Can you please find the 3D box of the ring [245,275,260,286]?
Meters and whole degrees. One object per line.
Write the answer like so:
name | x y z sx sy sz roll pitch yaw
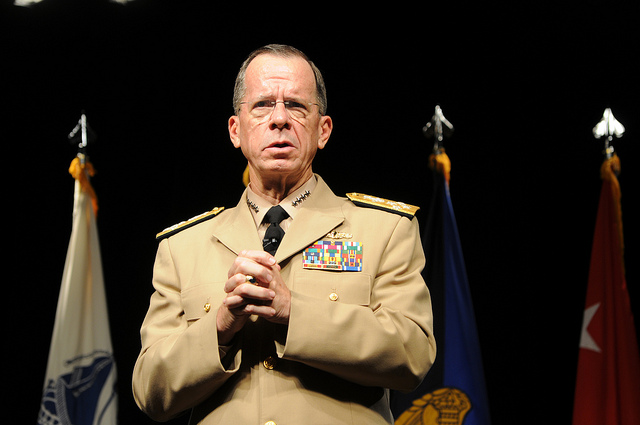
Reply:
ring | -0.303 0.304 3.467 0.058 0.017 0.041 39 -61 -23

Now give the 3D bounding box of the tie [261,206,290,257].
tie | -0.218 0.095 3.848 0.145 0.207 0.050 -13 -31 31

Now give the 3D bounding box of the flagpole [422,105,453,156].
flagpole | 0.708 -0.477 4.566 0.196 0.281 0.055 3 7 43

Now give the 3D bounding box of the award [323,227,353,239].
award | 0.090 0.100 3.804 0.127 0.051 0.050 -5 7 5
